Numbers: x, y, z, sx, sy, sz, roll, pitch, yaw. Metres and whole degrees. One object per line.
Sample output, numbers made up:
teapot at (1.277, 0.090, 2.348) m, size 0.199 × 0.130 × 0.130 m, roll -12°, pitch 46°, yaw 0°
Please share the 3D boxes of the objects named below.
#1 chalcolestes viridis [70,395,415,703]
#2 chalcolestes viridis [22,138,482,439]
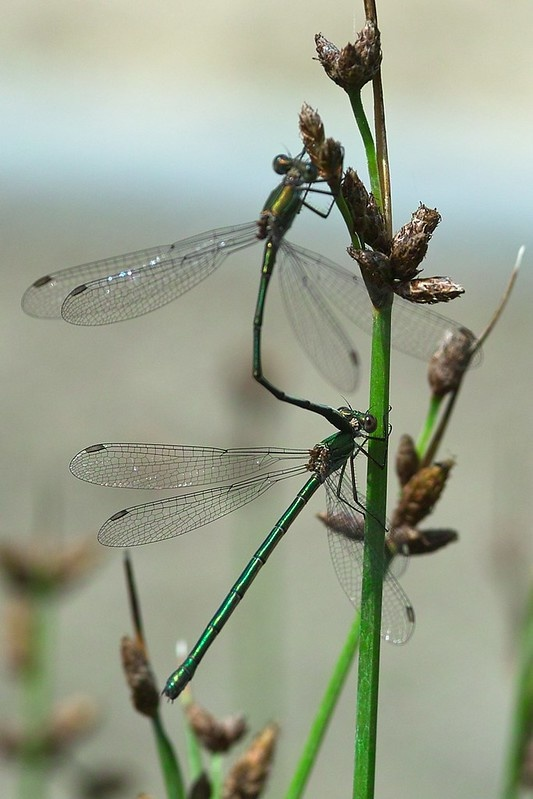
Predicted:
chalcolestes viridis at (0.014, 0.127, 1.065) m, size 0.457 × 0.193 × 0.335 m, roll 13°, pitch 41°, yaw 41°
chalcolestes viridis at (-0.018, -0.151, 1.116) m, size 0.500 × 0.320 × 0.296 m, roll 11°, pitch 20°, yaw 27°
